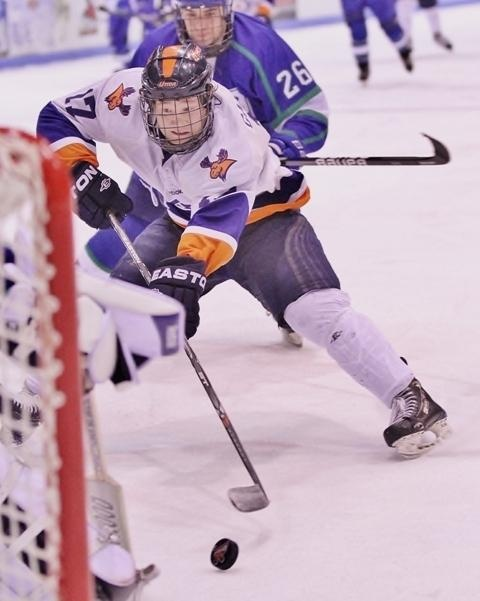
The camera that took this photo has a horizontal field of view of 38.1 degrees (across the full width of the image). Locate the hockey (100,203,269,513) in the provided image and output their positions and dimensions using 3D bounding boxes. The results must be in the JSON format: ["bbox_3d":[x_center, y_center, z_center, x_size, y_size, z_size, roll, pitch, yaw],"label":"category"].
[{"bbox_3d":[-0.220,0.108,1.611,0.201,0.848,0.038,-15,-22,-47],"label":"hockey"}]

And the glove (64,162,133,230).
[{"bbox_3d":[-0.373,-0.263,1.831,0.134,0.200,0.070,-58,8,-31],"label":"glove"}]
